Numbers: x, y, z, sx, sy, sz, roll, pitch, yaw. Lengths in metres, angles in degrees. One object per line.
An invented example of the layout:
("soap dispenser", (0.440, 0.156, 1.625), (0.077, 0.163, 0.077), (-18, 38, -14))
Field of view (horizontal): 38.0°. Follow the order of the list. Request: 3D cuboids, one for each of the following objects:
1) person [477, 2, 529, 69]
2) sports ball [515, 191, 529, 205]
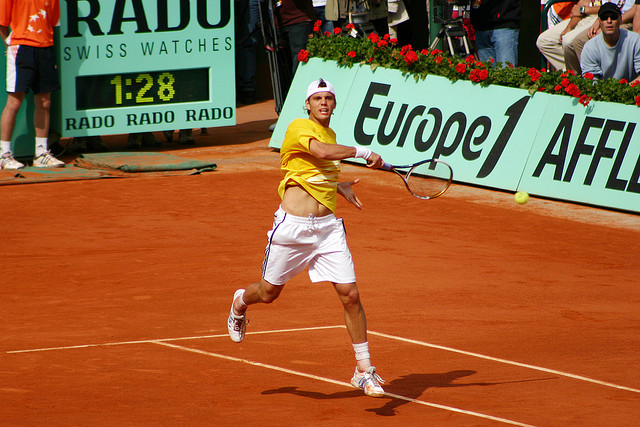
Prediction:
("person", (3.738, -3.932, 19.702), (0.864, 1.348, 0.561), (13, 12, 37))
("sports ball", (3.463, -0.307, 15.999), (0.226, 0.236, 0.338), (7, 10, 10))
